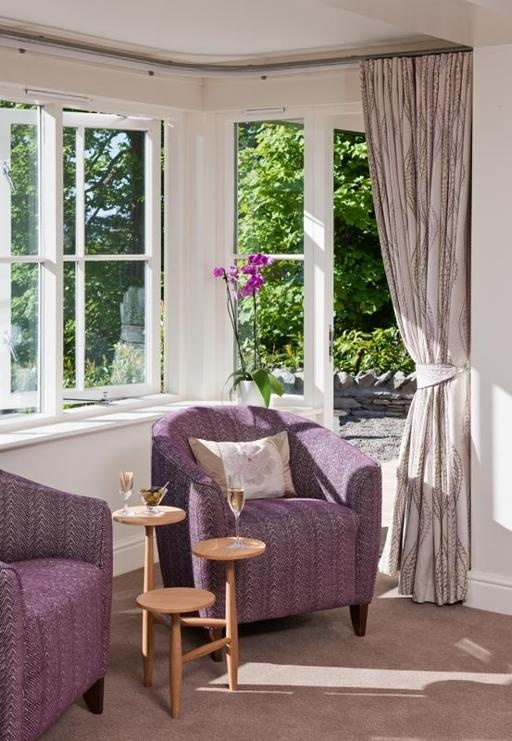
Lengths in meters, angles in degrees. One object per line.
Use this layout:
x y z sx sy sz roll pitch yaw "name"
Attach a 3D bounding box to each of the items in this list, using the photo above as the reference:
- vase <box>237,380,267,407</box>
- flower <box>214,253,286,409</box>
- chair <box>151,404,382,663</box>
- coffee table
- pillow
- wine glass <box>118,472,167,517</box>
-0.036 0.127 3.847 0.140 0.111 0.149 0 -1 -3 "vase"
-0.040 -0.229 3.931 0.390 0.858 0.515 1 -2 -3 "flower"
0.036 0.587 2.878 0.905 0.770 0.910 0 -3 1 "chair"
-0.214 0.739 2.107 0.505 0.517 0.388 0 -5 9 "coffee table"
-0.035 0.423 3.016 0.429 0.277 0.149 -2 -10 -27 "pillow"
-0.349 0.412 2.361 0.209 0.164 0.123 -1 3 -5 "wine glass"
